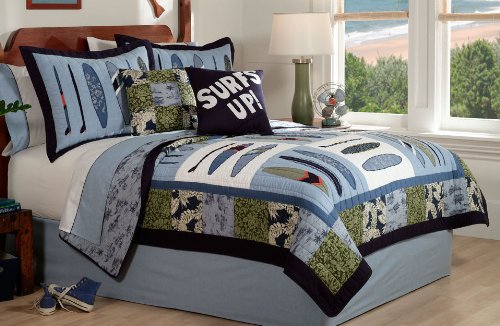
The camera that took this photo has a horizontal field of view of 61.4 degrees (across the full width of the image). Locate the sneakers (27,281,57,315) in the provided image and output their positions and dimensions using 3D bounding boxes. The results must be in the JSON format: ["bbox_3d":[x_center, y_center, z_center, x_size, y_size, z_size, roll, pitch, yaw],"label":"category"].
[{"bbox_3d":[-1.184,0.790,2.464,0.095,0.155,0.245,1,3,-4],"label":"sneakers"}]
